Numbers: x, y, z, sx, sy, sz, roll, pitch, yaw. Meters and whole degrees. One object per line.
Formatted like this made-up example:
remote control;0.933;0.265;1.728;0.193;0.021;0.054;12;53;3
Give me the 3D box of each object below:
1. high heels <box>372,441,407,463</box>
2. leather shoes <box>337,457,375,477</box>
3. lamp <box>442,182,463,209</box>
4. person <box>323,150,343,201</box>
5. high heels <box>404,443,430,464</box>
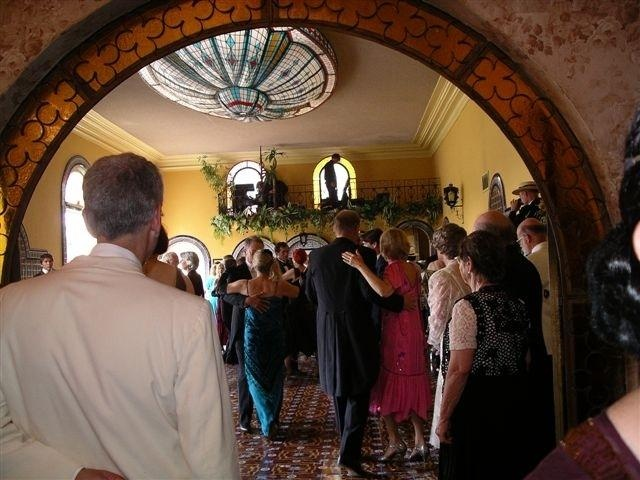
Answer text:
high heels;0.590;1.885;4.021;0.365;0.220;0.129;0;-6;-6
leather shoes;0.301;1.867;3.841;0.279;0.168;0.269;-3;-4;3
lamp;3.004;-1.006;10.484;0.509;0.839;0.435;1;-2;-23
person;0.369;-1.596;12.525;0.378;1.513;0.477;0;7;12
high heels;0.865;1.870;4.011;0.214;0.136;0.094;-3;-4;3
